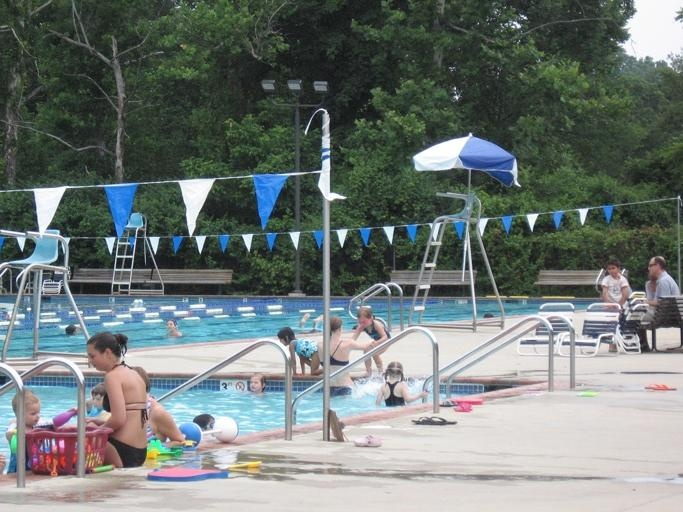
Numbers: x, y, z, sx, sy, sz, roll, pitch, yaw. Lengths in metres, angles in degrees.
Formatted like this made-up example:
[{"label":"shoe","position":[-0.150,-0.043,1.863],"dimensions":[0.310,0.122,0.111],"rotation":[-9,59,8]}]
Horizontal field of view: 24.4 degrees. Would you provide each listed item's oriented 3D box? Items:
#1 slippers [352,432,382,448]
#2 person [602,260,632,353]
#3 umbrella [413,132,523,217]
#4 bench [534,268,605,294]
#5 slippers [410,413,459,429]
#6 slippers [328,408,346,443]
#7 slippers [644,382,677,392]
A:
[{"label":"slippers","position":[0.606,4.059,34.649],"dimensions":[0.617,0.247,0.257],"rotation":[-2,-3,1]},{"label":"person","position":[7.270,1.245,41.849],"dimensions":[0.754,2.259,0.780],"rotation":[-1,12,2]},{"label":"umbrella","position":[3.741,-2.274,43.671],"dimensions":[2.388,2.327,2.215],"rotation":[2,1,31]},{"label":"bench","position":[8.041,0.717,55.086],"dimensions":[2.249,0.726,0.897],"rotation":[-4,-42,31]},{"label":"slippers","position":[2.136,3.701,35.591],"dimensions":[1.007,0.218,0.413],"rotation":[-2,-3,3]},{"label":"slippers","position":[-0.063,3.727,34.940],"dimensions":[0.371,0.709,0.233],"rotation":[-3,-3,7]},{"label":"slippers","position":[7.601,3.094,37.305],"dimensions":[0.733,0.176,0.442],"rotation":[-3,-4,6]}]
